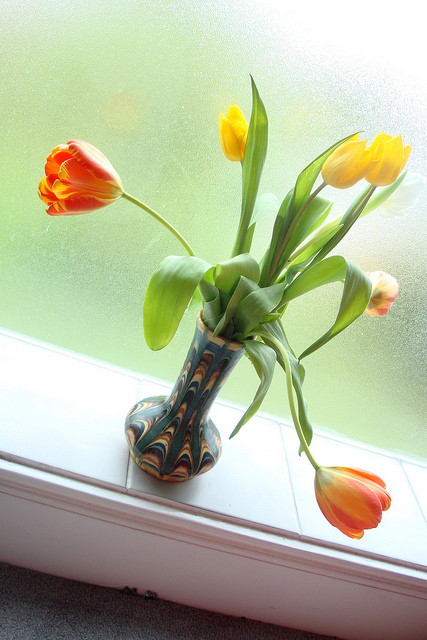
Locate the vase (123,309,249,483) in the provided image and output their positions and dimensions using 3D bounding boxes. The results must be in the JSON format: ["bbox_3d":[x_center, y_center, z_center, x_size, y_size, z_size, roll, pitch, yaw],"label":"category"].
[{"bbox_3d":[-0.035,0.112,0.670,0.117,0.196,0.124,26,6,30],"label":"vase"}]
